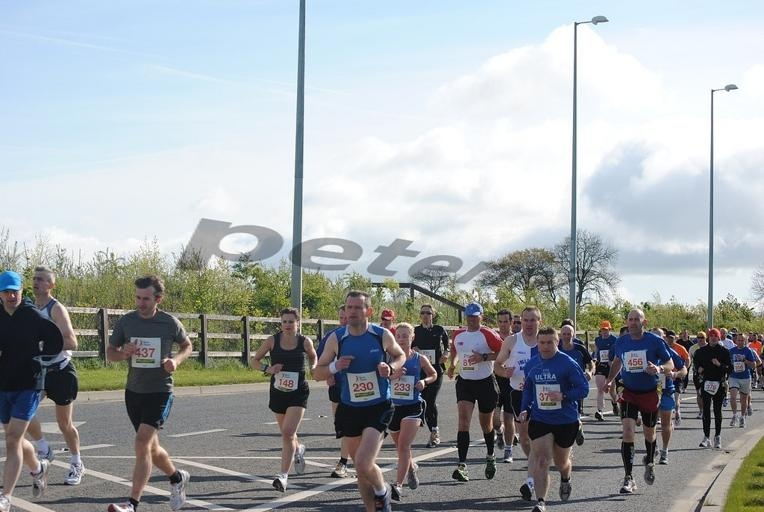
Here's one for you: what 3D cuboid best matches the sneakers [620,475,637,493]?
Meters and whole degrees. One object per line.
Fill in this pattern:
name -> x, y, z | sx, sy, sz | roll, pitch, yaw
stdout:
sneakers -> 3.852, 3.563, 15.284 | 0.382, 0.247, 0.220 | 4, -4, -23

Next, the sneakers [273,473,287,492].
sneakers -> -1.502, 3.333, 14.530 | 0.156, 0.338, 0.124 | -9, 21, -44

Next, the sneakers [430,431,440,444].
sneakers -> 1.013, 3.402, 18.237 | 0.106, 0.201, 0.327 | 1, 4, -3

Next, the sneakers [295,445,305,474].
sneakers -> -1.304, 3.265, 15.765 | 0.162, 0.441, 0.265 | 2, -3, -4

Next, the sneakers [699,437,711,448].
sneakers -> 6.251, 3.627, 19.017 | 0.110, 0.152, 0.323 | -11, -21, 37

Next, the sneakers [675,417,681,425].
sneakers -> 6.649, 3.712, 22.073 | 0.122, 0.160, 0.338 | -10, -4, 12

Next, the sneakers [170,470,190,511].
sneakers -> -2.836, 3.283, 13.837 | 0.260, 0.614, 0.209 | 16, -16, -35

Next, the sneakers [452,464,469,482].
sneakers -> 1.249, 3.468, 15.507 | 0.145, 0.378, 0.178 | -1, 30, 28
